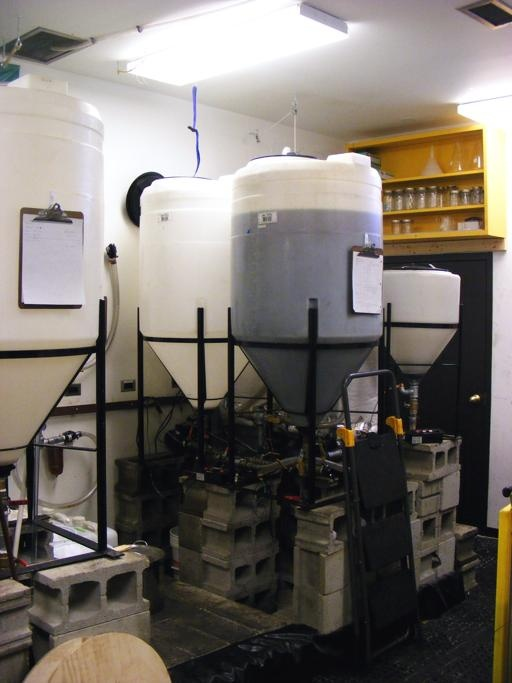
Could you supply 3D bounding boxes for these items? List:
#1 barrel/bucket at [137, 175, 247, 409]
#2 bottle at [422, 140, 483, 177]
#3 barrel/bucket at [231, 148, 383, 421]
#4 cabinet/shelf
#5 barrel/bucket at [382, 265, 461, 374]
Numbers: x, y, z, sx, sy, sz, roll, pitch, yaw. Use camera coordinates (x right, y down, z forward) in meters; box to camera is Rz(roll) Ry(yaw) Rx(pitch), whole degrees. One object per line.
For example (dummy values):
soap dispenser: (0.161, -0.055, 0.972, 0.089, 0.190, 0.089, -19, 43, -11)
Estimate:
barrel/bucket: (-0.331, -0.251, 2.845, 0.550, 1.114, 0.393, 7, 4, 0)
bottle: (1.344, -1.249, 4.175, 0.295, 0.207, 0.126, -3, -4, 32)
barrel/bucket: (0.172, -0.204, 2.344, 0.601, 0.728, 0.329, 8, 4, 8)
cabinet/shelf: (1.104, -0.986, 3.815, 0.991, 0.832, 0.339, 0, 0, 35)
barrel/bucket: (0.841, -0.098, 3.210, 0.262, 0.472, 0.419, 11, 6, 42)
